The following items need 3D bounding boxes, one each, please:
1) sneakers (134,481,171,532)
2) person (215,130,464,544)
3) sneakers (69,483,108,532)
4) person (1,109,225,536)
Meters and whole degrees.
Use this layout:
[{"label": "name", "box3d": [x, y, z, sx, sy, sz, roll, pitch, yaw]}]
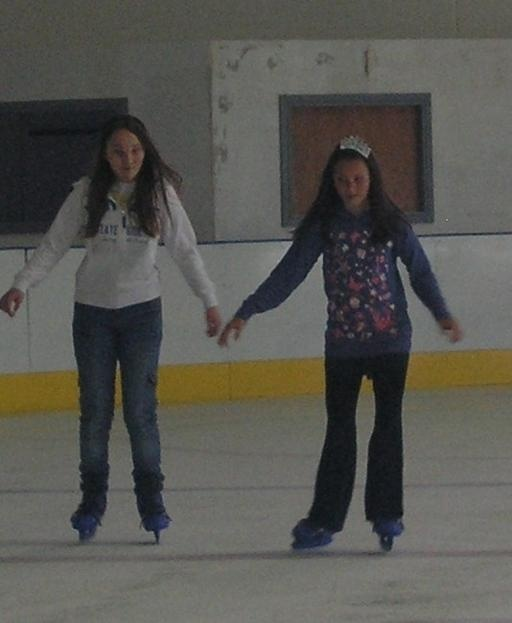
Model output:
[{"label": "sneakers", "box3d": [-0.308, 0.579, 3.375, 0.092, 0.069, 0.181, 1, 49, -21]}, {"label": "person", "box3d": [0.282, 0.093, 3.356, 0.627, 1.181, 0.294, 1, 8, -2]}, {"label": "sneakers", "box3d": [-0.508, 0.589, 3.478, 0.152, 0.121, 0.284, -10, -11, -14]}, {"label": "person", "box3d": [-0.423, 0.053, 3.406, 0.643, 1.247, 0.349, 0, 8, -7]}]
